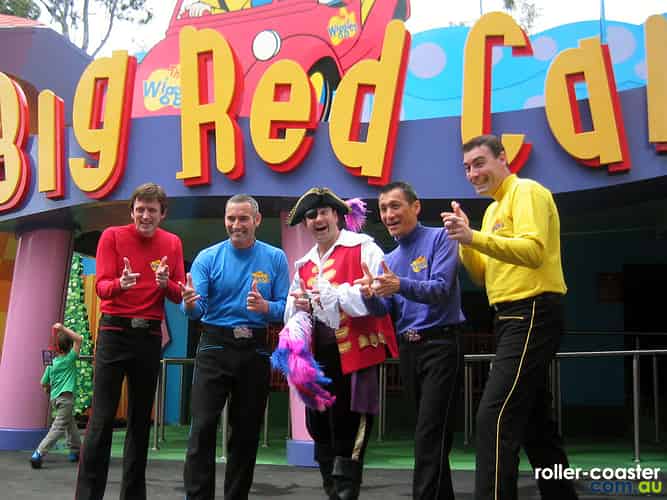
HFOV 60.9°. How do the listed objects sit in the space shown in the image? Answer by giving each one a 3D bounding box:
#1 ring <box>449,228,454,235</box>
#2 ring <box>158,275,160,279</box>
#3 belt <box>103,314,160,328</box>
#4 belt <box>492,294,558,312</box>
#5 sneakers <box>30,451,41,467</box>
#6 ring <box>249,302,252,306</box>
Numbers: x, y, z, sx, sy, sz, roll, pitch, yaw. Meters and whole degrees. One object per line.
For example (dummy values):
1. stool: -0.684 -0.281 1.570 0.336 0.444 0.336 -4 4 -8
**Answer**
1. ring: 0.786 -0.124 3.734 0.031 0.033 0.012 0 -55 9
2. ring: -1.408 0.210 4.580 0.020 0.026 0.009 1 3 8
3. belt: -1.704 0.604 4.768 0.477 0.115 0.158 6 -15 -21
4. belt: 1.324 0.363 3.931 0.204 0.061 0.208 -20 -7 -18
5. sneakers: -3.824 2.668 7.255 0.097 0.120 0.280 3 -37 -6
6. ring: -0.656 0.422 4.482 0.017 0.023 0.009 0 5 3
